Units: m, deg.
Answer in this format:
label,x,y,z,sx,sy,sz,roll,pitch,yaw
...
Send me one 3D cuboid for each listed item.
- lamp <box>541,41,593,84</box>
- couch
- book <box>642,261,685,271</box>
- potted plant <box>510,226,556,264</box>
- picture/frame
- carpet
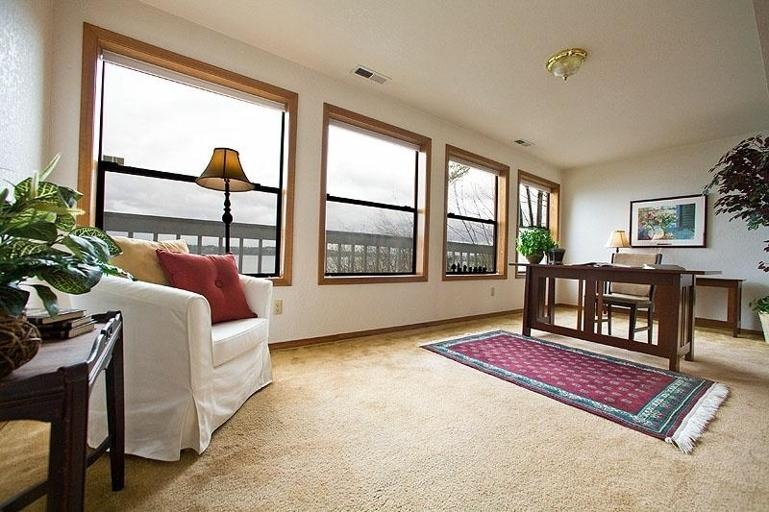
label,x,y,z,sx,sy,sz,roll,pitch,yaw
lamp,1.717,-1.798,4.426,0.395,0.197,0.310,3,5,17
couch,-1.648,0.517,3.795,1.422,1.651,1.730,-1,-3,1
book,2.579,0.107,4.294,0.213,0.052,0.220,1,-6,-27
potted plant,1.720,-0.114,5.368,0.510,0.501,0.465,2,-4,-38
picture/frame,3.811,-0.450,6.210,0.040,0.642,0.783,4,-3,-41
carpet,1.699,1.070,4.007,1.911,0.250,1.236,6,7,42
